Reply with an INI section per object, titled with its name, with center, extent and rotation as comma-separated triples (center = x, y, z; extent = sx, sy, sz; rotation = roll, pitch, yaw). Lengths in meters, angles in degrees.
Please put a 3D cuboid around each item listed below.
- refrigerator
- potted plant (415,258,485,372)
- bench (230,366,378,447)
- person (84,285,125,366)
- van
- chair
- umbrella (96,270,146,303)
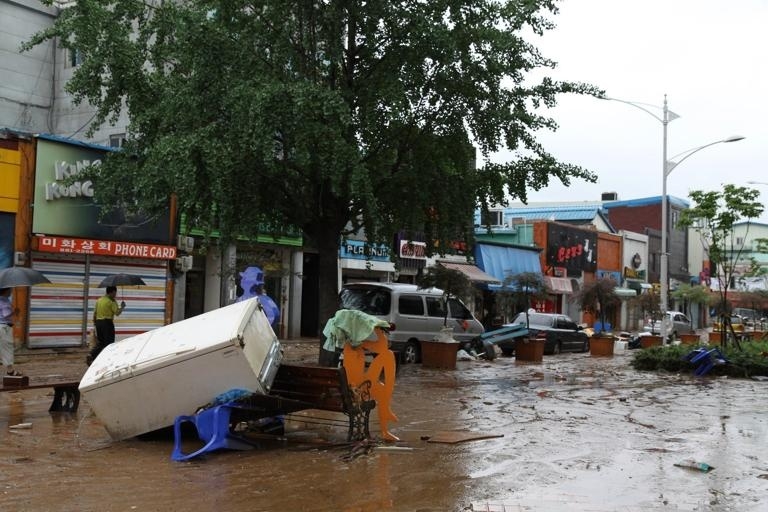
[refrigerator]
center = -3.142, 1.758, 12.084
extent = 3.124, 1.671, 2.196
rotation = -26, 13, 12
[potted plant]
center = 1.743, 1.883, 22.730
extent = 2.214, 3.374, 1.685
rotation = -1, -3, 17
[bench]
center = -1.252, 2.523, 12.256
extent = 0.913, 1.090, 2.486
rotation = 8, -11, -40
[person]
center = -6.708, 1.549, 17.098
extent = 1.304, 2.665, 0.928
rotation = 1, -1, -28
[van]
center = 1.107, 2.102, 22.999
extent = 2.759, 2.597, 6.432
rotation = -4, -7, 39
[chair]
center = -2.664, 2.696, 10.993
extent = 1.187, 0.841, 0.542
rotation = 1, -5, -13
[umbrella]
center = -6.931, 0.652, 18.629
extent = 1.096, 0.415, 1.108
rotation = -6, -8, -1
